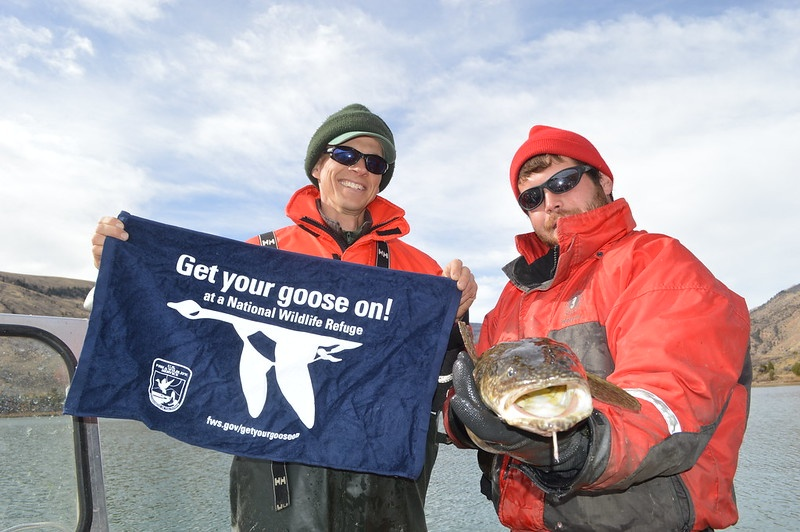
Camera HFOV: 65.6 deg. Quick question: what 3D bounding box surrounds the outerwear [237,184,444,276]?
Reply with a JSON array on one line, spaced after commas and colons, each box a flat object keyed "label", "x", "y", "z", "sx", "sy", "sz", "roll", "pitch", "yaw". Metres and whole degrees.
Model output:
[{"label": "outerwear", "x": -0.502, "y": -0.296, "z": 6.242, "sx": 2.377, "sy": 0.717, "sz": 0.901, "roll": 9, "pitch": 23, "yaw": -12}]
